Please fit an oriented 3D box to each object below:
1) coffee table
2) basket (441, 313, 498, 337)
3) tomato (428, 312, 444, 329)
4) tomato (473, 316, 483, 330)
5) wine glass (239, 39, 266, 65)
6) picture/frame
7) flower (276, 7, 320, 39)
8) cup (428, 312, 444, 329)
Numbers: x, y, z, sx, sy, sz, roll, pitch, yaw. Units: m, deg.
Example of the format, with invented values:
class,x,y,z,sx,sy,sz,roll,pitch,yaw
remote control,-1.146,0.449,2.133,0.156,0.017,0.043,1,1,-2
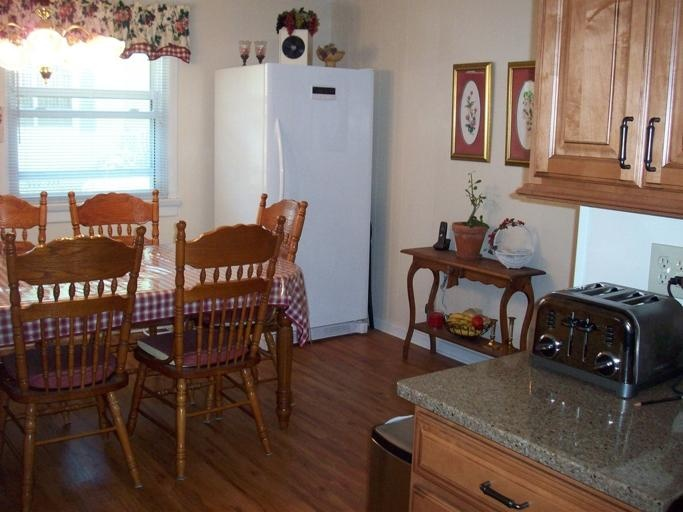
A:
class,x,y,z,sx,sy,sz,roll,pitch,yaw
coffee table,0.958,0.448,3.949,0.413,0.897,1.081,-9,16,-42
basket,0.930,0.497,3.846,0.212,0.098,0.215,3,5,37
tomato,0.739,0.500,4.103,0.105,0.080,0.110,2,11,5
tomato,0.989,0.482,3.839,0.094,0.093,0.077,1,12,-5
wine glass,-0.764,-1.739,4.524,0.213,0.248,0.432,0,12,-10
picture/frame,1.091,-1.059,3.921,0.097,0.742,0.726,-7,15,-36
flower,-0.380,-1.982,4.466,0.321,0.267,0.398,0,12,-9
cup,0.739,0.500,4.098,0.105,0.080,0.110,1,11,0
